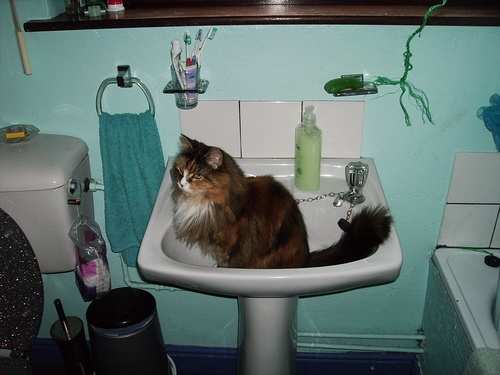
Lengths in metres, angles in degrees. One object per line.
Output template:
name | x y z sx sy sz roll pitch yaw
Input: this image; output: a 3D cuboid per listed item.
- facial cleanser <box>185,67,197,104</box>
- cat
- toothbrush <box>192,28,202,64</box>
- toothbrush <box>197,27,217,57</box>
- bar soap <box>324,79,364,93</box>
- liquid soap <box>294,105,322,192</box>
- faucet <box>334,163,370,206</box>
facial cleanser | -0.201 -0.351 1.395 0.036 0.107 0.026 -20 54 -18
cat | 0.090 0.048 1.379 0.714 0.430 0.228 1 17 3
toothbrush | -0.182 -0.476 1.391 0.021 0.168 0.025 5 28 -10
toothbrush | -0.142 -0.494 1.390 0.037 0.137 0.010 5 66 -20
bar soap | 0.318 -0.350 1.409 0.096 0.026 0.059 -3 50 2
liquid soap | 0.208 -0.137 1.460 0.091 0.291 0.093 -3 25 0
faucet | 0.342 -0.018 1.497 0.129 0.148 0.133 2 25 -8
